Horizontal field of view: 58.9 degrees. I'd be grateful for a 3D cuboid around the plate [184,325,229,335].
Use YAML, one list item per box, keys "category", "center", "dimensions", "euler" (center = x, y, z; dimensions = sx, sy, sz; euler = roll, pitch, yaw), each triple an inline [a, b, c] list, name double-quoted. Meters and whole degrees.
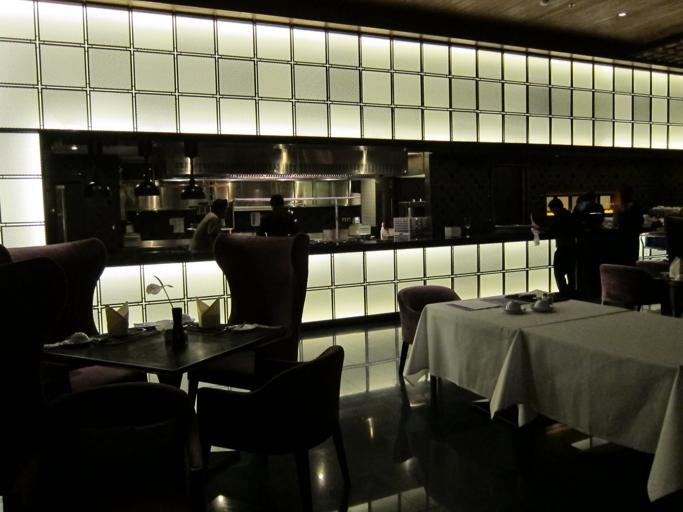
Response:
- category: "plate"
  center: [-0.975, 0.526, 4.356]
  dimensions: [0.344, 0.024, 0.213]
  euler: [-1, 11, 5]
